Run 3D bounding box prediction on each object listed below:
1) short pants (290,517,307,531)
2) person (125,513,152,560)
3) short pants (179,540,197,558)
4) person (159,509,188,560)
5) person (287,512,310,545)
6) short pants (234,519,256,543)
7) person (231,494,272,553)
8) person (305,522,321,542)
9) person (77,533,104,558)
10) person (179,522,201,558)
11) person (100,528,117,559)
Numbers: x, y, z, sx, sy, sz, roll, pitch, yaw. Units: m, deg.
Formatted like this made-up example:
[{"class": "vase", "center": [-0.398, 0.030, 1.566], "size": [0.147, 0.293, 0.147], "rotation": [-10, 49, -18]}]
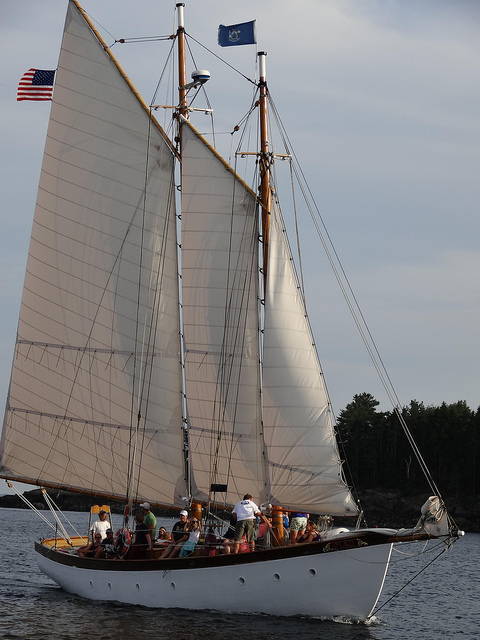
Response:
[{"class": "short pants", "center": [1.729, 6.287, 32.304], "size": [0.478, 0.409, 0.346], "rotation": [-6, -10, 37]}, {"class": "person", "center": [-3.045, 6.500, 31.362], "size": [0.646, 1.284, 1.039], "rotation": [7, -2, -13]}, {"class": "short pants", "center": [-1.491, 6.527, 29.873], "size": [0.443, 0.454, 0.259], "rotation": [7, -2, -3]}, {"class": "person", "center": [-1.933, 6.353, 30.855], "size": [0.500, 1.326, 1.128], "rotation": [10, 11, 32]}, {"class": "person", "center": [1.774, 6.362, 32.240], "size": [0.521, 0.799, 1.412], "rotation": [6, -2, 4]}, {"class": "short pants", "center": [0.119, 5.888, 29.312], "size": [0.561, 0.809, 0.290], "rotation": [4, -8, -3]}, {"class": "person", "center": [0.293, 5.800, 29.513], "size": [0.978, 1.833, 0.652], "rotation": [3, -26, -1]}, {"class": "person", "center": [2.066, 5.888, 29.916], "size": [0.301, 0.610, 0.845], "rotation": [-1, 16, 6]}, {"class": "person", "center": [-4.606, 7.065, 32.860], "size": [0.827, 0.940, 0.581], "rotation": [3, -21, -1]}, {"class": "person", "center": [-1.372, 6.307, 30.099], "size": [0.439, 1.040, 0.466], "rotation": [10, -10, 14]}, {"class": "person", "center": [-4.004, 6.905, 32.050], "size": [0.429, 0.836, 1.157], "rotation": [7, -2, -10]}]
